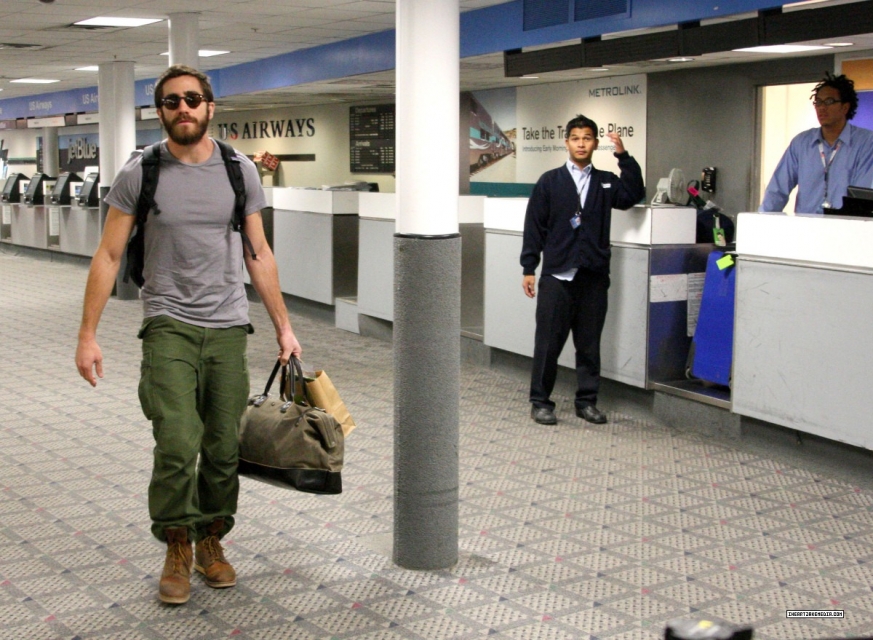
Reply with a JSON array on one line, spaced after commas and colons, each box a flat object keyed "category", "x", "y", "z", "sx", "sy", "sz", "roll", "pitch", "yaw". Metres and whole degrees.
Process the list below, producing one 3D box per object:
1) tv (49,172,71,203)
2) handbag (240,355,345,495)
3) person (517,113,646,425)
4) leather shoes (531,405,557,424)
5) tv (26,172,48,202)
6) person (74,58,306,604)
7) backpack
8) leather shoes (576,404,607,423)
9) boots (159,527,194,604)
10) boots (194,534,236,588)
[{"category": "tv", "x": -9.595, "y": -3.332, "z": 15.828, "sx": 0.511, "sy": 0.832, "sz": 0.919, "roll": -4, "pitch": 7, "yaw": -31}, {"category": "handbag", "x": -0.705, "y": 0.459, "z": 2.904, "sx": 0.688, "sy": 0.559, "sz": 0.352, "roll": 3, "pitch": 3, "yaw": 41}, {"category": "person", "x": 1.184, "y": -0.414, "z": 5.254, "sx": 0.946, "sy": 2.539, "sz": 0.468, "roll": 1, "pitch": 6, "yaw": 7}, {"category": "leather shoes", "x": 0.904, "y": 0.803, "z": 5.238, "sx": 0.103, "sy": 0.093, "sz": 0.231, "roll": 0, "pitch": 1, "yaw": -20}, {"category": "tv", "x": -11.142, "y": -3.610, "z": 17.270, "sx": 0.501, "sy": 0.862, "sz": 0.831, "roll": -5, "pitch": 8, "yaw": -37}, {"category": "person", "x": -1.052, "y": 0.079, "z": 2.654, "sx": 0.884, "sy": 2.264, "sz": 0.386, "roll": -1, "pitch": 6, "yaw": -12}, {"category": "backpack", "x": -1.094, "y": -0.495, "z": 2.725, "sx": 0.482, "sy": 0.530, "sz": 0.415, "roll": 5, "pitch": -12, "yaw": 6}, {"category": "leather shoes", "x": 1.313, "y": 0.794, "z": 5.324, "sx": 0.107, "sy": 0.114, "sz": 0.289, "roll": -3, "pitch": 6, "yaw": -31}, {"category": "boots", "x": -1.118, "y": 1.069, "z": 2.739, "sx": 0.129, "sy": 0.147, "sz": 0.366, "roll": 0, "pitch": 6, "yaw": -4}, {"category": "boots", "x": -1.006, "y": 1.097, "z": 2.805, "sx": 0.123, "sy": 0.133, "sz": 0.328, "roll": -3, "pitch": 8, "yaw": -32}]
